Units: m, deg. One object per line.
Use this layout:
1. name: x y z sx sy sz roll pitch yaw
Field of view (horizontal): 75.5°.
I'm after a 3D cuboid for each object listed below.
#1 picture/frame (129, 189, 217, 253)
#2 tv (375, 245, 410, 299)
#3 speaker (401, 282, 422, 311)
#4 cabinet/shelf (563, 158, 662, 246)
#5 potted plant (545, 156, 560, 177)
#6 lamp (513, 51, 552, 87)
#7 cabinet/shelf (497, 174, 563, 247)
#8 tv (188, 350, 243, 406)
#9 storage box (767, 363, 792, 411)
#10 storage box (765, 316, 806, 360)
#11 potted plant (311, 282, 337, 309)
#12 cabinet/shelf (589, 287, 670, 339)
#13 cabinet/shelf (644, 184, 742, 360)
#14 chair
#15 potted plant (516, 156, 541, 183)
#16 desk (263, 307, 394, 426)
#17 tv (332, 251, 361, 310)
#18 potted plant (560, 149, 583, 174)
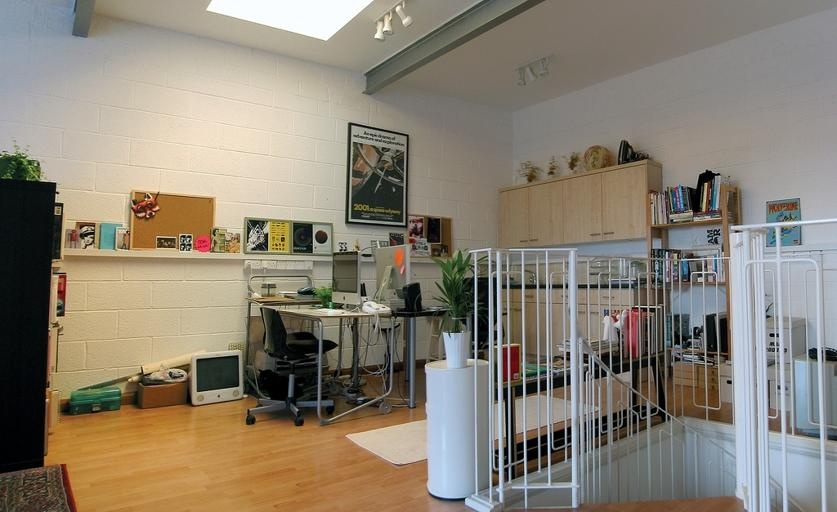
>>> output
1. picture/frame: -2.960 -0.426 6.425 0.790 0.557 0.060 2 -7 -28
2. tv: -0.385 0.211 6.431 0.231 0.669 0.682 0 -2 -36
3. speaker: -0.080 0.471 6.237 0.217 0.319 0.376 -1 13 -2
4. cabinet/shelf: 2.672 -0.672 7.677 1.288 1.042 0.524 -8 -13 43
5. potted plant: 2.020 -1.383 8.284 0.237 0.305 0.223 9 16 35
6. lamp: 1.578 -2.553 7.412 0.274 0.304 0.446 5 -12 -42
7. cabinet/shelf: 1.874 -0.611 8.412 0.489 1.023 1.269 3 -4 -40
8. tv: -2.430 1.413 6.409 0.621 0.573 0.339 3 -10 -41
9. storage box: 3.707 1.397 5.641 0.304 0.447 0.303 0 -8 24
10. storage box: 3.891 0.895 5.781 0.279 0.376 0.381 -4 -5 -22
11. potted plant: -1.141 0.469 6.581 0.280 0.258 0.247 1 5 -12
12. cabinet/shelf: 2.460 0.641 6.225 0.499 0.567 0.843 -1 1 -40
13. cabinet/shelf: 3.393 0.512 6.723 0.400 1.613 0.801 6 -10 -6
14. chair: -1.391 1.171 5.970 0.911 1.142 0.996 3 -7 -19
15. potted plant: 1.745 -1.372 8.573 0.371 0.153 0.370 13 14 8
16. desk: -1.110 1.124 6.180 1.321 1.114 1.300 -1 2 -34
17. tv: -0.826 0.275 6.220 0.234 0.641 0.652 2 -4 -35
18. potted plant: 2.272 -1.409 8.072 0.320 0.338 0.333 1 2 13
